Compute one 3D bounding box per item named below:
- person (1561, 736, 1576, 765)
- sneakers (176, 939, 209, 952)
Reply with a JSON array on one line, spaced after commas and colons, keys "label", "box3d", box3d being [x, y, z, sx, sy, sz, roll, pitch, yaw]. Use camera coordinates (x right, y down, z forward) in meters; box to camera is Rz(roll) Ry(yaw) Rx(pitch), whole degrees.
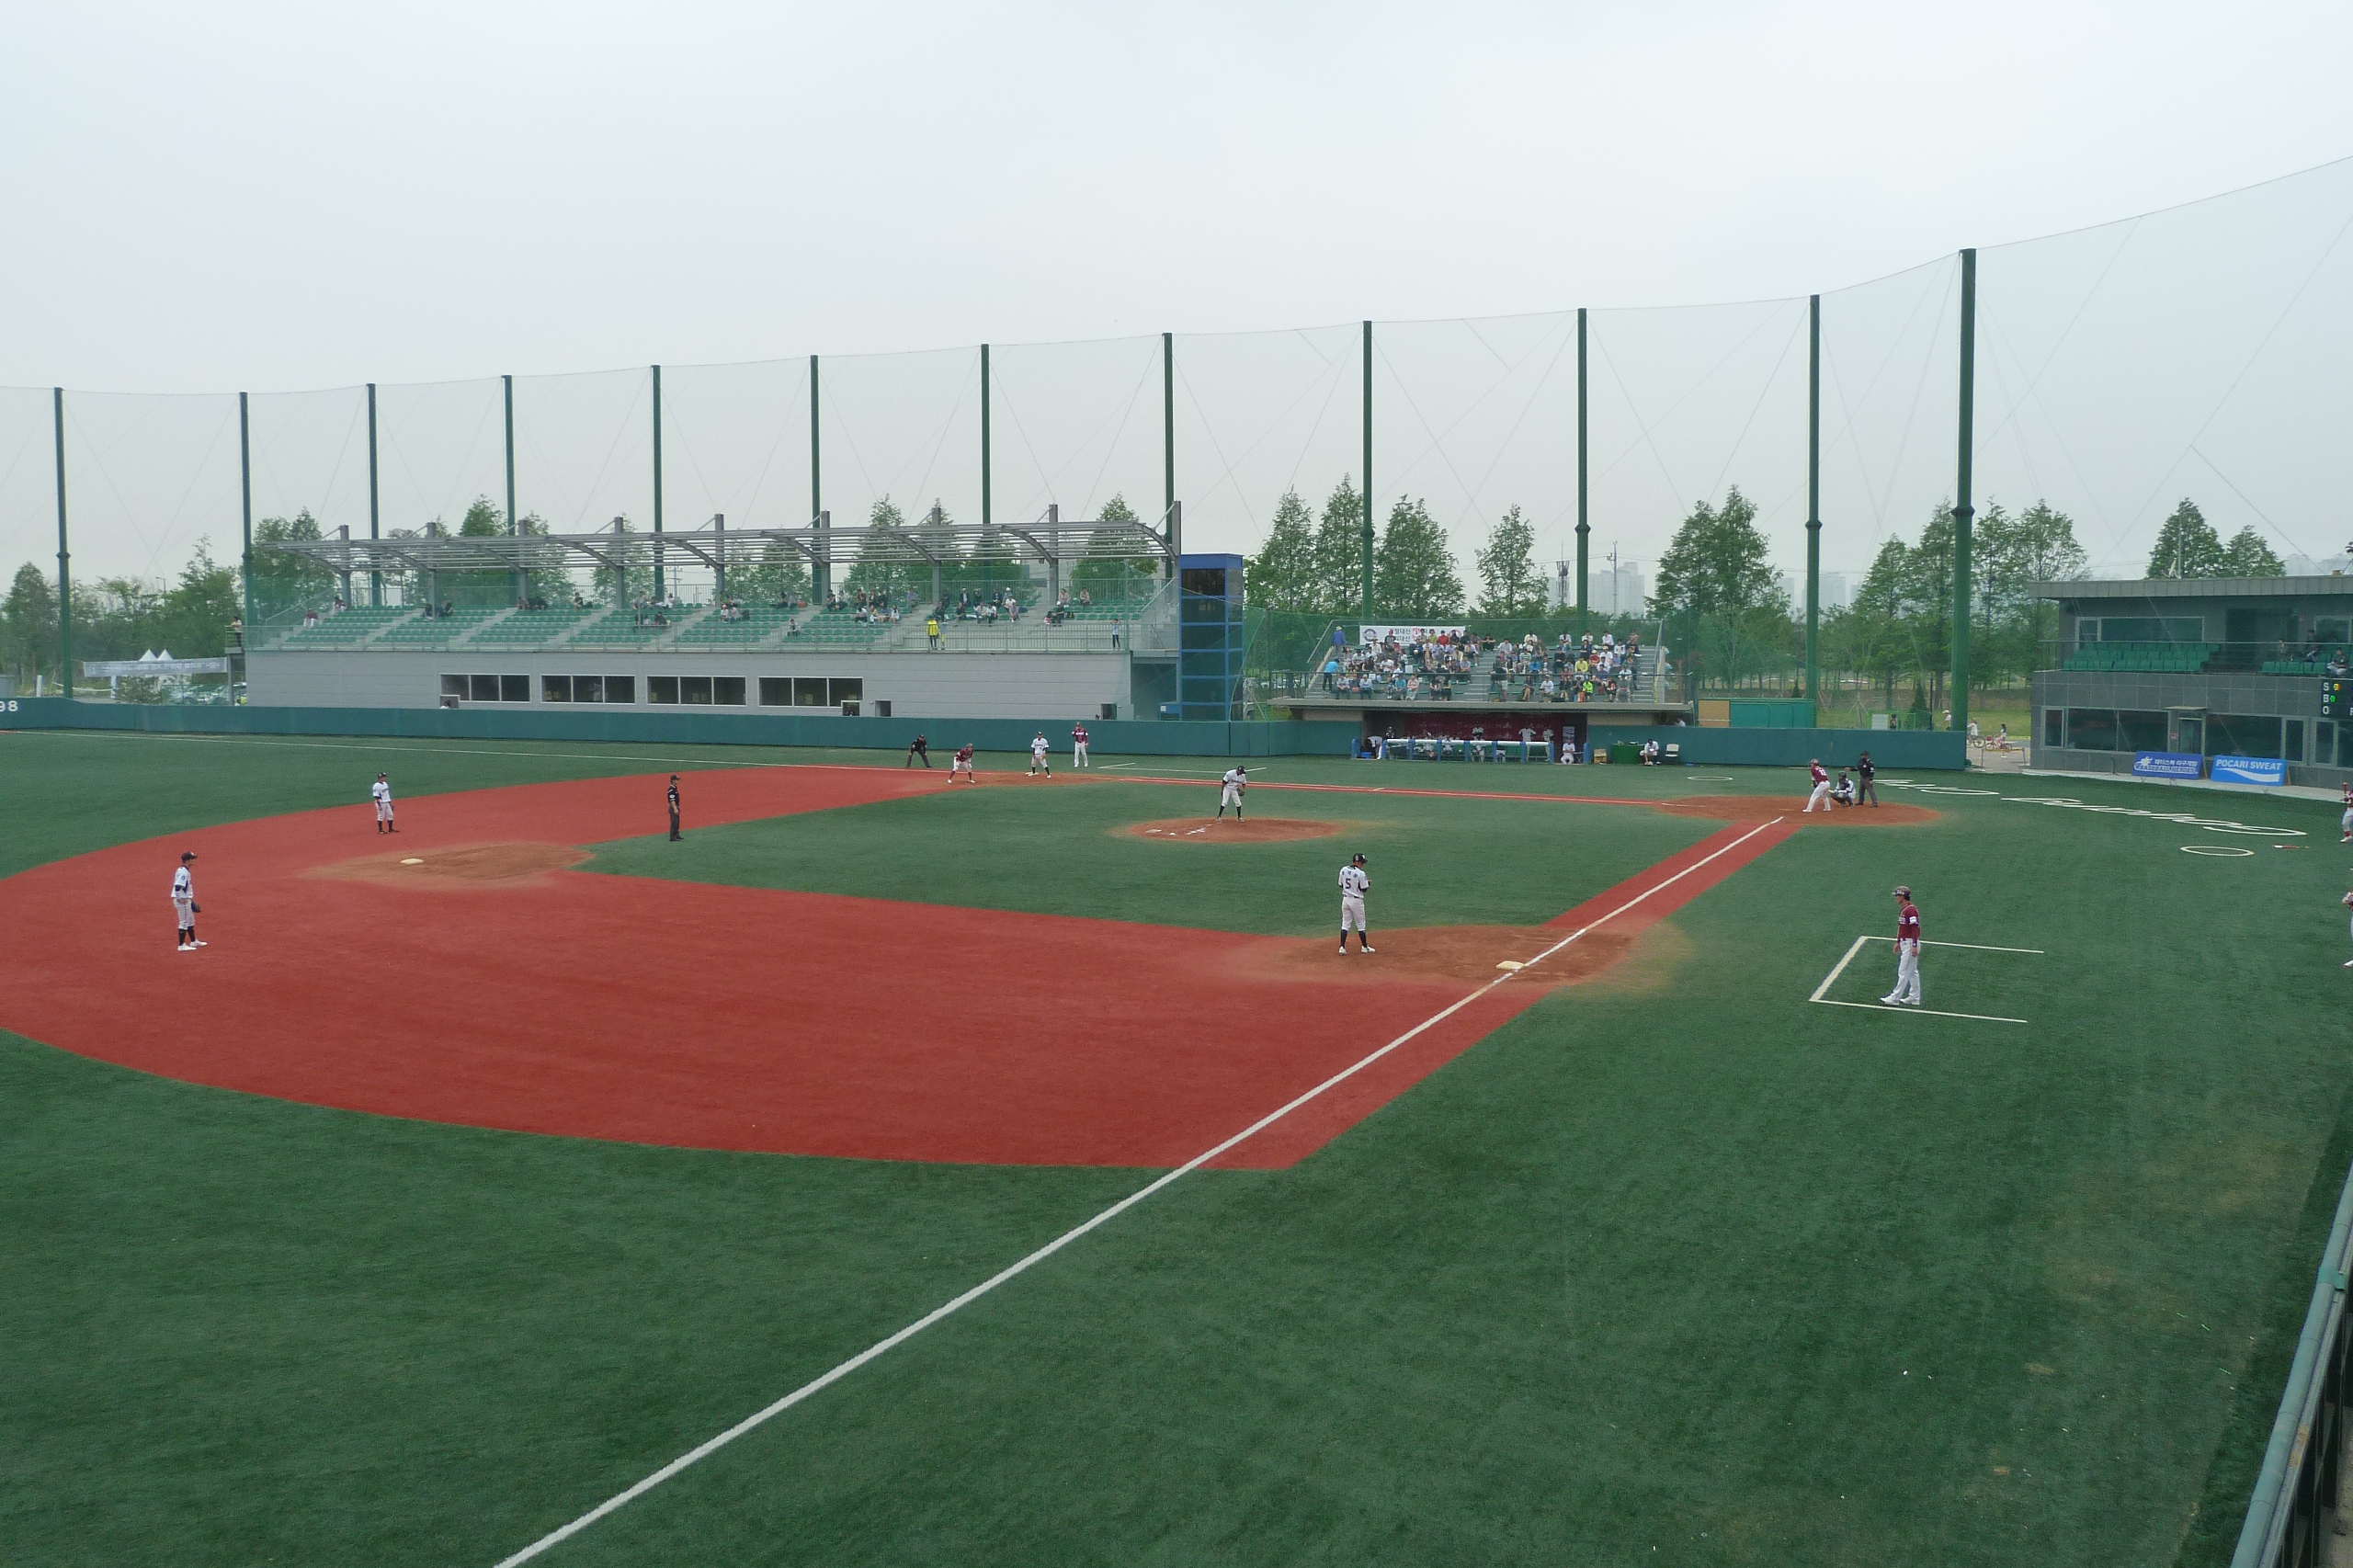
[{"label": "person", "box3d": [12.584, -1.177, 84.363, 0.372, 0.671, 0.753, 1, 10, 8]}, {"label": "sneakers", "box3d": [-16.509, 2.723, 44.927, 0.602, 0.225, 0.195, -10, 17, -43]}]
